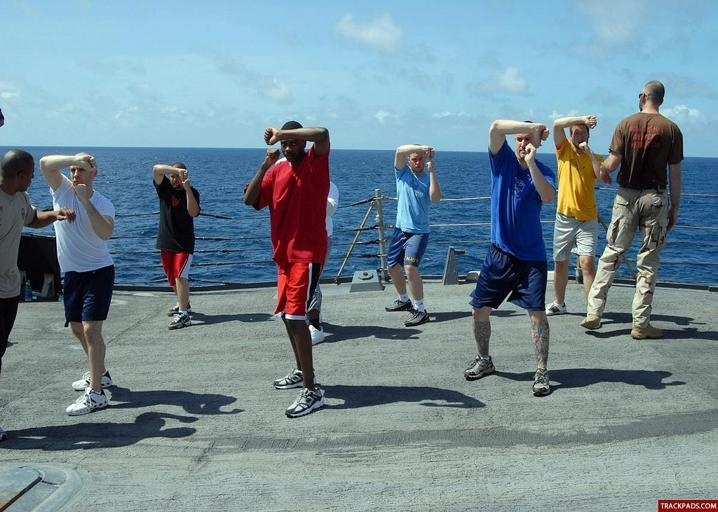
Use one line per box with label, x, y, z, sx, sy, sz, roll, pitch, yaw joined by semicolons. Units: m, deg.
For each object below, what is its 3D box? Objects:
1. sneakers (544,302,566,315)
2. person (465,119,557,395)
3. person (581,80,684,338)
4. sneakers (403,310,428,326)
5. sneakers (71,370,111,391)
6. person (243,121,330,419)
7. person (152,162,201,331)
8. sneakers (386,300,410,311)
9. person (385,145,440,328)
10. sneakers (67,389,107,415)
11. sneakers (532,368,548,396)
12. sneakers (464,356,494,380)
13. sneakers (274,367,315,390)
sneakers;2.388;0.652;9.438;0.300;0.103;0.114;0;4;-8
person;1.437;-0.046;7.382;0.814;2.492;0.936;1;13;10
person;2.987;-0.497;8.397;0.913;2.730;0.907;3;14;19
sneakers;0.690;0.736;9.319;0.210;0.167;0.336;5;13;27
sneakers;-2.718;1.234;7.605;0.521;0.187;0.158;1;3;-10
person;-0.587;0.106;7.123;0.740;2.534;0.985;-5;13;-14
person;-2.284;-0.191;9.812;0.564;2.020;1.238;-5;13;-13
sneakers;0.524;0.646;10.008;0.382;0.139;0.119;1;-5;-3
person;0.667;-0.317;9.575;0.649;2.149;0.985;-3;13;-7
sneakers;-2.482;1.350;7.126;0.437;0.165;0.166;-2;1;-28
sneakers;1.694;1.165;7.181;0.167;0.220;0.237;1;13;12
sneakers;1.175;1.102;7.553;0.361;0.151;0.152;-4;-3;-35
sneakers;-0.667;1.191;7.526;0.505;0.183;0.202;1;-2;-8
